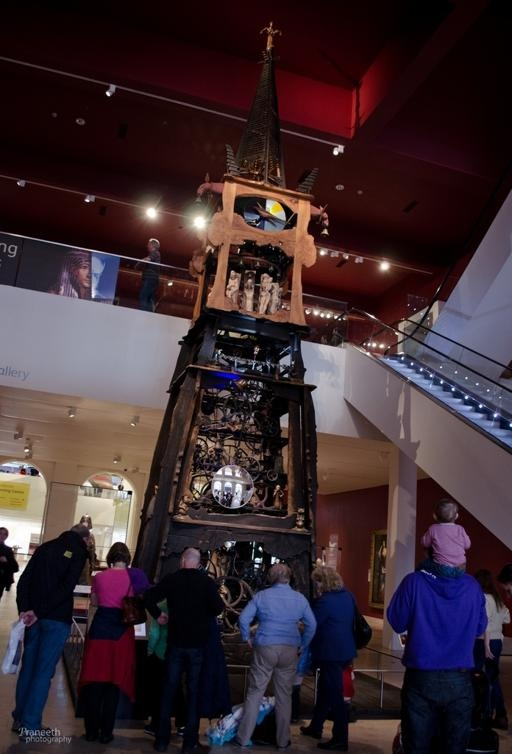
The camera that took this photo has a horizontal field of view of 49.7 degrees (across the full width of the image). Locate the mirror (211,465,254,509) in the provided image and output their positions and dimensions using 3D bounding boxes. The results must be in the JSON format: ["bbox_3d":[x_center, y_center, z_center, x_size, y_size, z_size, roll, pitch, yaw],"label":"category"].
[{"bbox_3d":[-0.230,1.041,5.187,0.427,0.419,0.046,7,-24,-24],"label":"mirror"}]

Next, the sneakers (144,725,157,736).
[{"bbox_3d":[-0.681,2.260,3.531,0.052,0.065,0.111,13,-15,-25],"label":"sneakers"}]

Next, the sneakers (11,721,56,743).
[{"bbox_3d":[-1.268,2.057,3.195,0.248,0.079,0.235,12,-14,-23],"label":"sneakers"}]

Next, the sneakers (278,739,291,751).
[{"bbox_3d":[0.176,2.254,3.372,0.048,0.055,0.139,1,-36,-3],"label":"sneakers"}]

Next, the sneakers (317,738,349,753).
[{"bbox_3d":[0.481,2.283,3.450,0.193,0.082,0.069,5,-24,7],"label":"sneakers"}]

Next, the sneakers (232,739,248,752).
[{"bbox_3d":[-0.103,2.223,3.330,0.041,0.084,0.124,13,-28,-40],"label":"sneakers"}]

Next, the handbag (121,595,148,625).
[{"bbox_3d":[-0.723,1.378,3.264,0.069,0.149,0.157,-29,-29,23],"label":"handbag"}]
